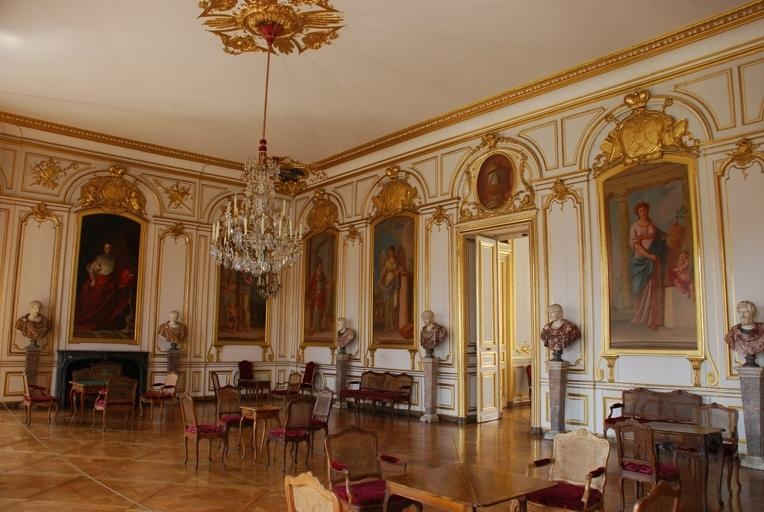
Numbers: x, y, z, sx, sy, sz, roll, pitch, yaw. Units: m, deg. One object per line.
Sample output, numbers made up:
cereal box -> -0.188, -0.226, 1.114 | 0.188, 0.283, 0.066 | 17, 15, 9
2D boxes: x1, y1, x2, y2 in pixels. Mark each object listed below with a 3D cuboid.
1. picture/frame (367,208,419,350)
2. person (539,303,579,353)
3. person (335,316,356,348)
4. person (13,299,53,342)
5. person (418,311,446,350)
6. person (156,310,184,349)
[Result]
picture/frame -> 0.302, 0.605, 14.786 | 0.338, 3.254, 1.461 | 10, -14, -39
person -> 3.538, 1.435, 11.689 | 0.325, 0.885, 0.850 | 18, -18, -23
person -> -0.936, 2.024, 15.579 | 0.349, 0.742, 0.594 | 20, -29, -35
person -> -8.427, 1.576, 14.179 | 0.916, 1.217, 0.454 | 6, -18, -40
person -> 1.188, 1.733, 13.676 | 0.330, 0.842, 0.764 | 13, -17, -31
person -> -5.663, 1.977, 15.708 | 0.445, 1.041, 0.829 | -15, -19, 36
